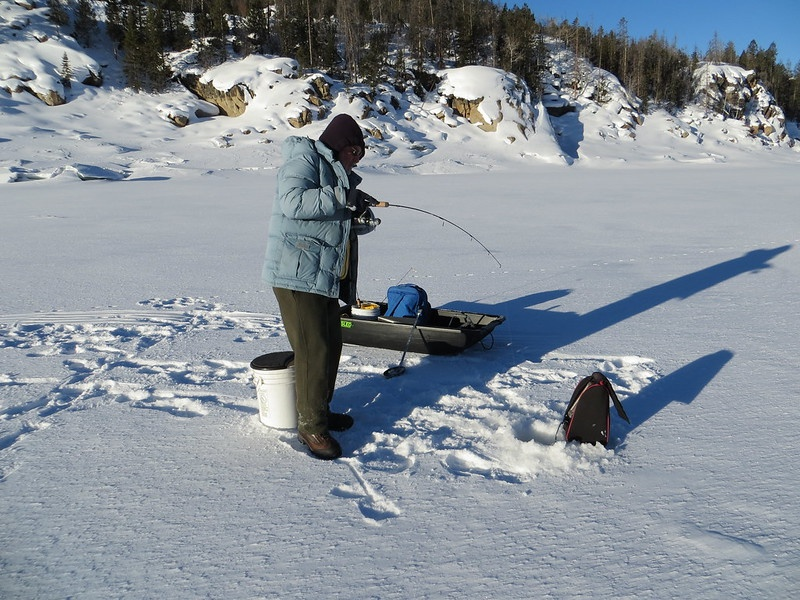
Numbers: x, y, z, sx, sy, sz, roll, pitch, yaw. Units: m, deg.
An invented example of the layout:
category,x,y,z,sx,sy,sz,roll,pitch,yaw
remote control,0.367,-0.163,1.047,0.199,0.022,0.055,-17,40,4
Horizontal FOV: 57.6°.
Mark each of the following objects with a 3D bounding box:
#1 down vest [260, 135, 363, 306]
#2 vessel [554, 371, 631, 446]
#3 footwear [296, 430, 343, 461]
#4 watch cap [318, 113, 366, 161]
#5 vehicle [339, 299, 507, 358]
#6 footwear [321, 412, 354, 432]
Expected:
category,x,y,z,sx,sy,sz,roll,pitch,yaw
down vest,-0.614,-0.535,5.074,0.613,1.171,0.577,4,20,3
vessel,1.459,0.820,5.322,0.529,0.417,0.326,6,-7,14
footwear,-0.551,1.020,5.185,0.349,0.132,0.162,13,14,20
watch cap,-0.338,-1.147,5.067,0.276,0.257,0.387,25,17,39
vehicle,0.157,0.287,6.611,1.244,0.217,0.626,2,4,19
footwear,-0.467,0.921,5.437,0.240,0.086,0.097,-1,13,-2
